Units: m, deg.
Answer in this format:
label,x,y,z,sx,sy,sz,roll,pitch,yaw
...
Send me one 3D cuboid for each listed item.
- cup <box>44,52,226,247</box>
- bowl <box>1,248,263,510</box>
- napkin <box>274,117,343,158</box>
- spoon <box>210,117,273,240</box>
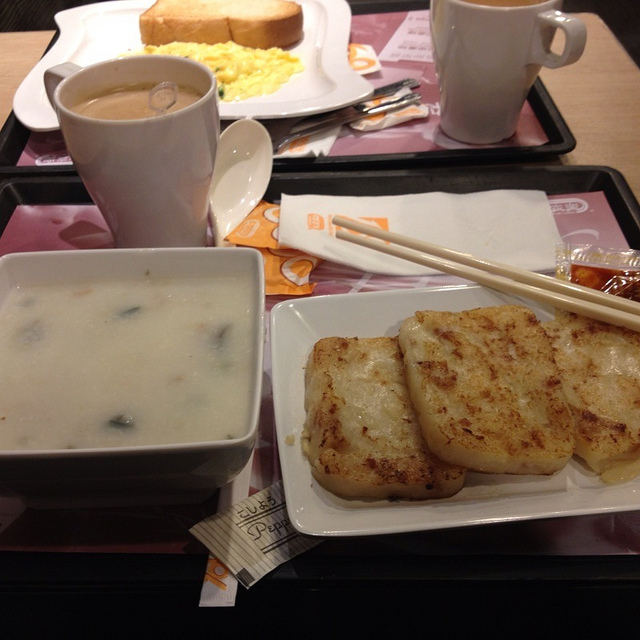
label,x,y,z,sx,sy,sz,roll,pitch,yaw
cup,-0.289,-0.304,1.021,0.255,0.220,0.347,-29,52,-28
bowl,-0.230,0.066,0.788,0.335,0.197,0.315,-1,56,2
napkin,-0.017,-0.367,1.301,0.131,0.016,0.109,2,50,10
spoon,-0.127,-0.263,1.190,0.124,0.042,0.222,17,80,17
